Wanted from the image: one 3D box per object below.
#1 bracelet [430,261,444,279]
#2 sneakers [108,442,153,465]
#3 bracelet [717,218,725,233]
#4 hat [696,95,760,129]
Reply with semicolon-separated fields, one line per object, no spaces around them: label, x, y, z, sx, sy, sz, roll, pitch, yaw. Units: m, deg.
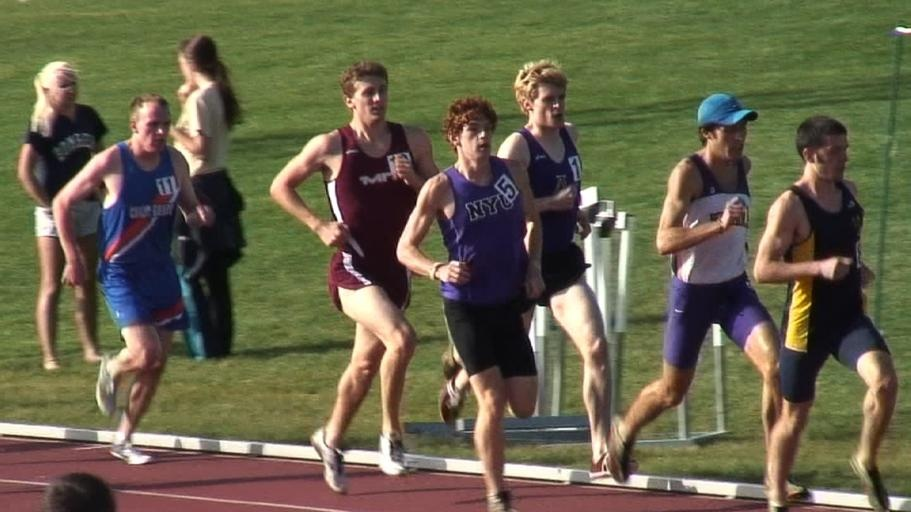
bracelet;-0.195;0.155;18.065;0.113;0.150;0.127;19;6;-6
sneakers;-3.365;2.080;18.824;0.449;0.138;0.193;11;36;10
bracelet;2.668;-0.297;18.131;0.039;0.130;0.095;-15;16;-34
hat;2.775;-1.488;18.440;0.619;0.242;0.468;5;16;43
